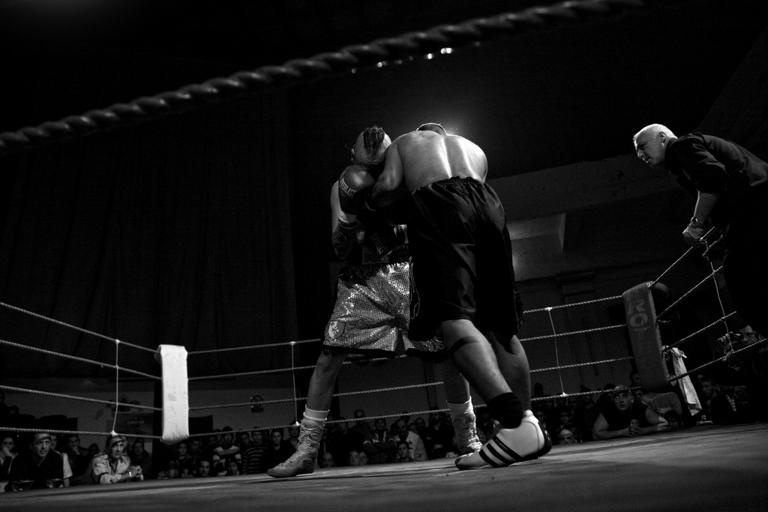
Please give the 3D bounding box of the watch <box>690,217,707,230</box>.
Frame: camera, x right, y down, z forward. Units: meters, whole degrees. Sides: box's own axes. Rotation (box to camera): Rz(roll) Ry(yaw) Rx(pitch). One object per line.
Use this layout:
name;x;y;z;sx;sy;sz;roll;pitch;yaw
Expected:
watch;2.647;-0.274;5.836;0.100;0.057;0.079;28;4;15

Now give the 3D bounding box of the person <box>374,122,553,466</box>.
person;0.532;0.210;4.609;0.970;2.300;0.583;13;-29;-40

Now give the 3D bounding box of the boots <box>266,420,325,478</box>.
boots;-0.665;1.447;5.053;0.521;0.344;0.183;1;-23;-44

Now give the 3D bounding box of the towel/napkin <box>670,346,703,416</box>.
towel/napkin;2.832;1.196;6.451;0.104;0.564;0.181;-13;-15;19
